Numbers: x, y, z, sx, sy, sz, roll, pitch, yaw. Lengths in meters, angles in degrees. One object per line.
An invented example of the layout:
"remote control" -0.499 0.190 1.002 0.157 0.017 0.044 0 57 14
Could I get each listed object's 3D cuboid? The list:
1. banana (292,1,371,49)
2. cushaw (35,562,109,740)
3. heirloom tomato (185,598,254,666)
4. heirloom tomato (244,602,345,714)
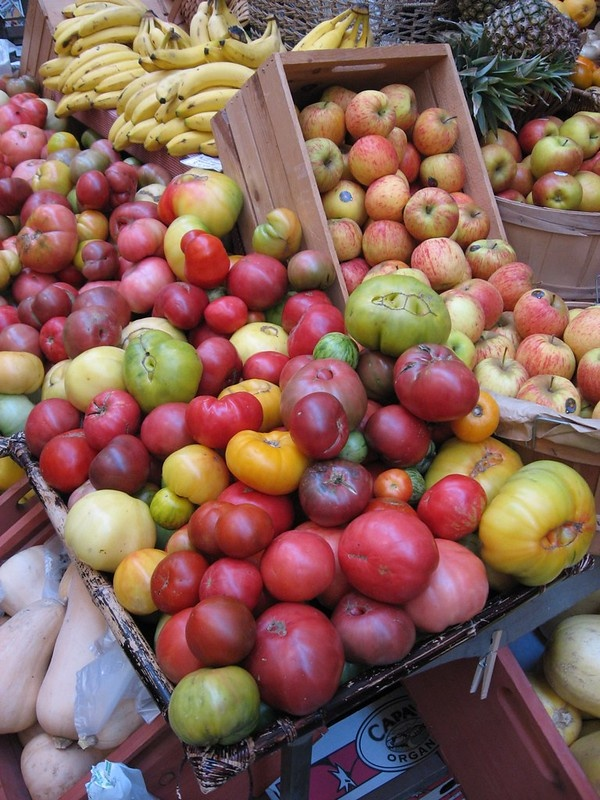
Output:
"banana" 0.123 -1.479 2.474 0.306 0.162 0.252 6 46 11
"cushaw" -0.628 0.692 1.761 0.196 0.177 0.488 17 38 -24
"heirloom tomato" -0.126 0.379 1.072 0.106 0.124 0.112 25 57 5
"heirloom tomato" 0.008 0.446 1.143 0.168 0.177 0.177 3 75 45
